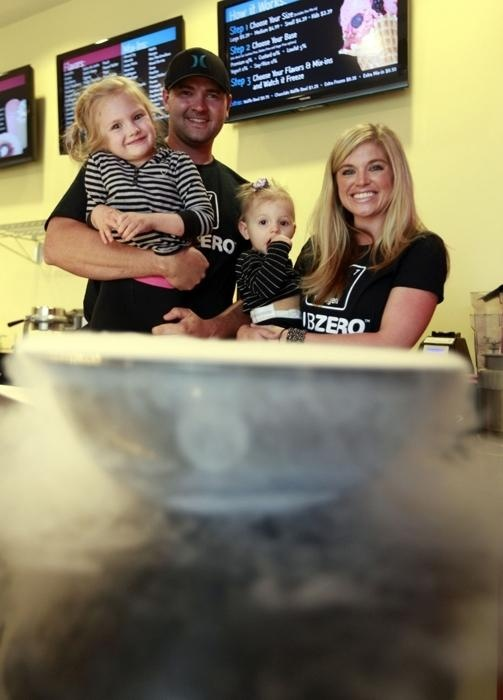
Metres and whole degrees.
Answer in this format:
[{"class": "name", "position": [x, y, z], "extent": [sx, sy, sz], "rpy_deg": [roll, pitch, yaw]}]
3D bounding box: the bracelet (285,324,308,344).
[{"class": "bracelet", "position": [0.092, -0.034, 1.217], "extent": [0.041, 0.038, 0.012], "rpy_deg": [-1, -27, 29]}]
